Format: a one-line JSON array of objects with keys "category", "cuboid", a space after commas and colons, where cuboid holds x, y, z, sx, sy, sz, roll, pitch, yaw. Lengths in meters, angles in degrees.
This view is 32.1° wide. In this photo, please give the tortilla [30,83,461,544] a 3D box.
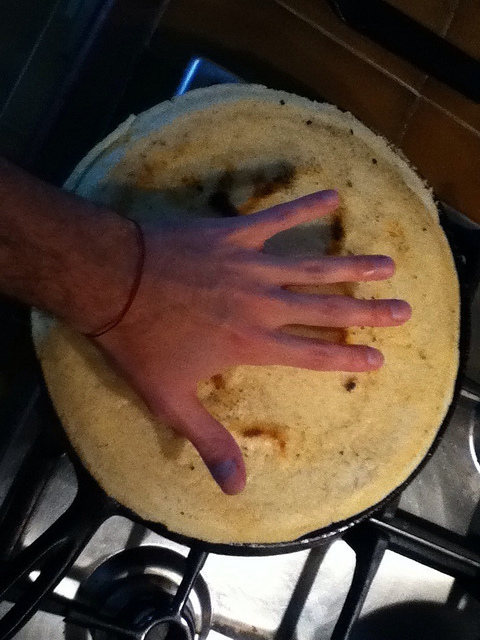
[{"category": "tortilla", "cuboid": [0.017, -0.010, 1.197, 0.629, 0.065, 0.665, 20, 82, 5]}]

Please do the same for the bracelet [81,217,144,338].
[{"category": "bracelet", "cuboid": [-0.161, -0.053, 1.171, 0.048, 0.038, 0.173, 22, 82, 6]}]
